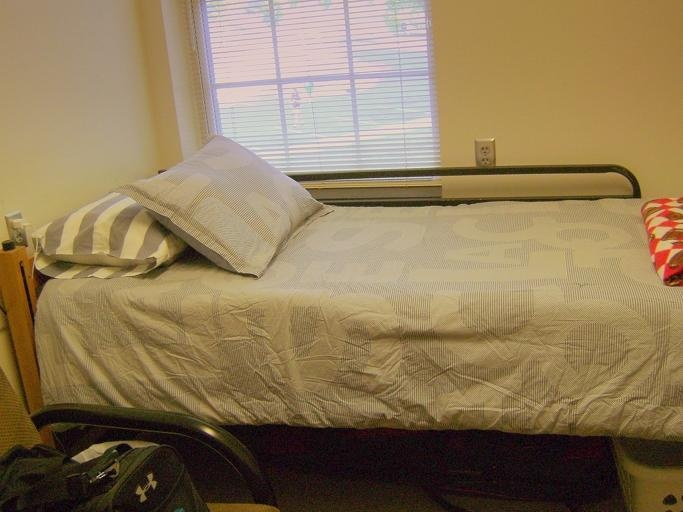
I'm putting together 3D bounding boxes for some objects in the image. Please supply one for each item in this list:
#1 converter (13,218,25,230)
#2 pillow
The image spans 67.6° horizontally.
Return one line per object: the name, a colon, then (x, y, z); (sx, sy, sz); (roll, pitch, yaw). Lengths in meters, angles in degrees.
converter: (-1.068, -0.108, 1.688); (0.030, 0.019, 0.028); (5, 27, -8)
pillow: (-0.518, -0.146, 1.738); (0.574, 0.178, 0.602); (42, 46, 19)
